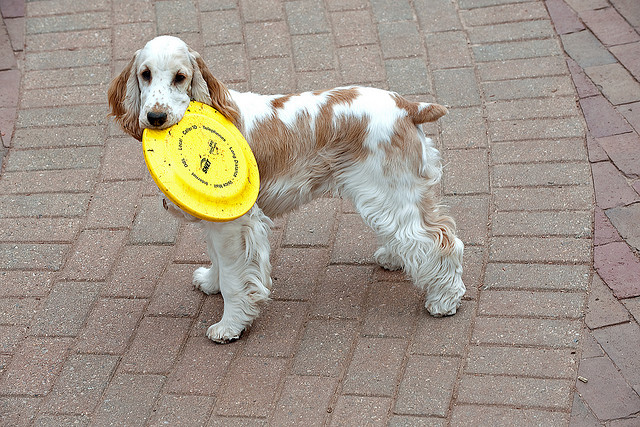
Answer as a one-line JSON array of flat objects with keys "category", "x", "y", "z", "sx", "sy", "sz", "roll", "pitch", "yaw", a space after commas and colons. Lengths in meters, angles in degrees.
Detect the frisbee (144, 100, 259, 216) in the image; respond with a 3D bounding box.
[{"category": "frisbee", "x": -0.784, "y": -0.350, "z": 5.785, "sx": 0.689, "sy": 0.473, "sz": 0.664, "roll": -21, "pitch": 55, "yaw": -14}]
